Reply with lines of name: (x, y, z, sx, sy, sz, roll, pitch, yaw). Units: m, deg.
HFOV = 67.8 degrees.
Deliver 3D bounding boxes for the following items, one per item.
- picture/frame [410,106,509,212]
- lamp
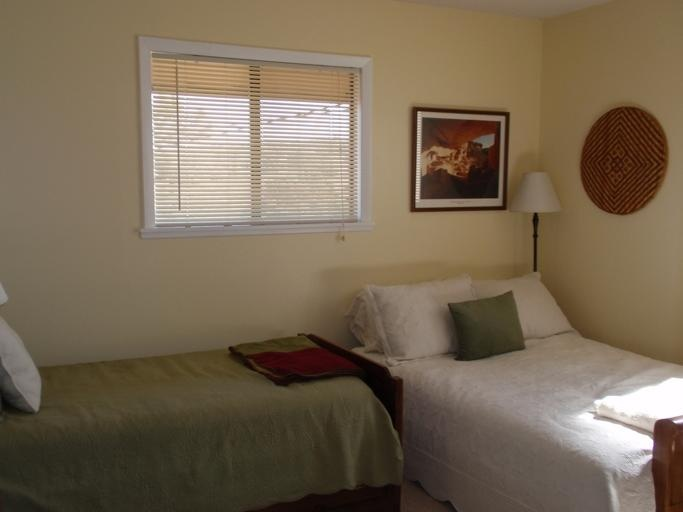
picture/frame: (0.911, -0.800, 4.089, 0.846, 0.748, 0.034, -1, 4, -24)
lamp: (1.602, -0.263, 4.206, 0.371, 0.854, 0.463, 6, 11, 26)
